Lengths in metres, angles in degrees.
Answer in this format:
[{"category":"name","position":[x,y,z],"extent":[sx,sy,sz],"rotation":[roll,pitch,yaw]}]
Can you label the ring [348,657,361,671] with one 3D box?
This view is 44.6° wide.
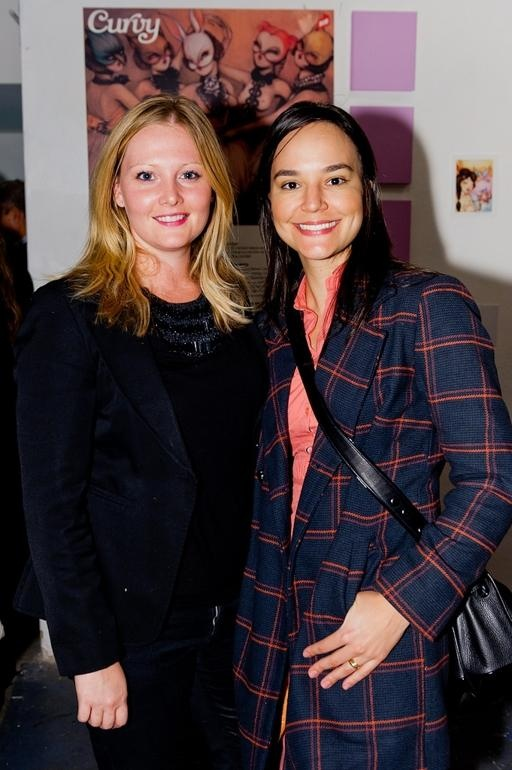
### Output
[{"category":"ring","position":[0.188,0.531,1.188],"extent":[0.005,0.019,0.019],"rotation":[-29,49,-19]}]
